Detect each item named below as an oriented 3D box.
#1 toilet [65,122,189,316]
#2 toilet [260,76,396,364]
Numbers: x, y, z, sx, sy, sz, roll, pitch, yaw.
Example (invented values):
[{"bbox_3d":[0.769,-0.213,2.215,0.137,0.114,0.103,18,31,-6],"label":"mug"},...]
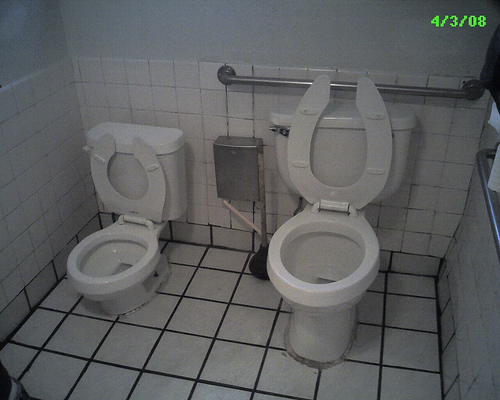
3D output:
[{"bbox_3d":[-0.695,0.137,2.236,0.504,0.918,0.750,8,31,14],"label":"toilet"},{"bbox_3d":[0.388,0.092,2.068,0.580,1.414,0.900,15,51,20],"label":"toilet"}]
